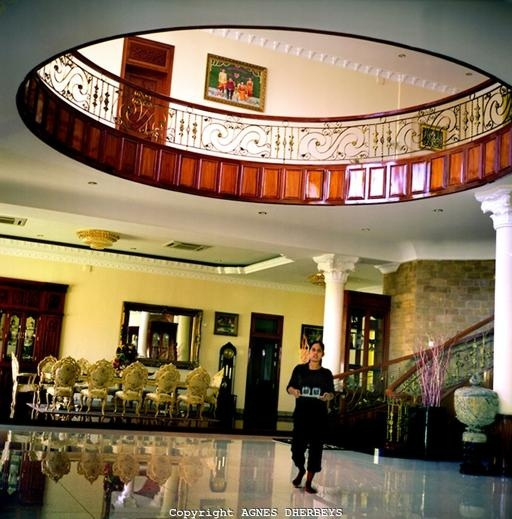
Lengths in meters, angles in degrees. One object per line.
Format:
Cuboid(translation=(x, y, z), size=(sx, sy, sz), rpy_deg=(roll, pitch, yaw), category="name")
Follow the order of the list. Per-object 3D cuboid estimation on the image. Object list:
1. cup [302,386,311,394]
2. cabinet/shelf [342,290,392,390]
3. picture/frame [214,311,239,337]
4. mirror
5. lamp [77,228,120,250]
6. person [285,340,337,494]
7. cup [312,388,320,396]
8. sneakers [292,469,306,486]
Cuboid(translation=(0.445, 1.160, 4.452), size=(0.072, 0.061, 0.039), rpy_deg=(2, -13, 12), category="cup")
Cuboid(translation=(2.444, 1.719, 11.023), size=(0.775, 1.830, 0.339), rpy_deg=(4, 17, 15), category="cabinet/shelf")
Cuboid(translation=(-0.930, 1.940, 15.112), size=(0.719, 0.746, 0.051), rpy_deg=(3, -6, -23), category="picture/frame")
Cuboid(translation=(-2.742, 2.141, 14.057), size=(1.845, 1.495, 0.145), rpy_deg=(6, -12, -22), category="mirror")
Cuboid(translation=(-3.458, -0.451, 11.183), size=(0.583, 0.248, 0.600), rpy_deg=(-6, -14, 20), category="lamp")
Cuboid(translation=(0.477, 1.378, 4.493), size=(0.416, 1.291, 0.347), rpy_deg=(3, -13, 10), category="person")
Cuboid(translation=(0.531, 1.166, 4.396), size=(0.068, 0.082, 0.075), rpy_deg=(5, -13, 1), category="cup")
Cuboid(translation=(0.391, 1.983, 4.553), size=(0.088, 0.190, 0.259), rpy_deg=(1, -22, 5), category="sneakers")
